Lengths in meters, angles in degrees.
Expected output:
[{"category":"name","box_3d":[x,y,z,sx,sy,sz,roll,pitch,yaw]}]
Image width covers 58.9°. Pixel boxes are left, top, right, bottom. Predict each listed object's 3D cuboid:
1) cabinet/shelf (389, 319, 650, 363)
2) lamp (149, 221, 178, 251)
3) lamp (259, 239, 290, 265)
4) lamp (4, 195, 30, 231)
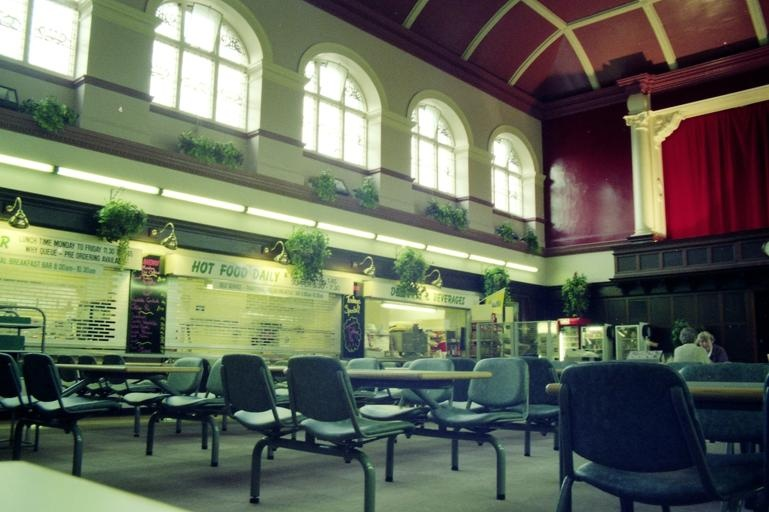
[{"category":"cabinet/shelf","box_3d":[3.897,2.018,16.310,2.712,0.689,2.809,2,-4,-42]},{"category":"lamp","box_3d":[-3.876,-0.375,12.431,0.650,0.522,0.373,4,0,38]},{"category":"lamp","box_3d":[-2.214,-0.095,13.791,0.535,0.490,0.397,-4,-10,22]},{"category":"lamp","box_3d":[-5.916,-0.725,10.929,0.326,0.602,0.652,5,-11,-29]}]
